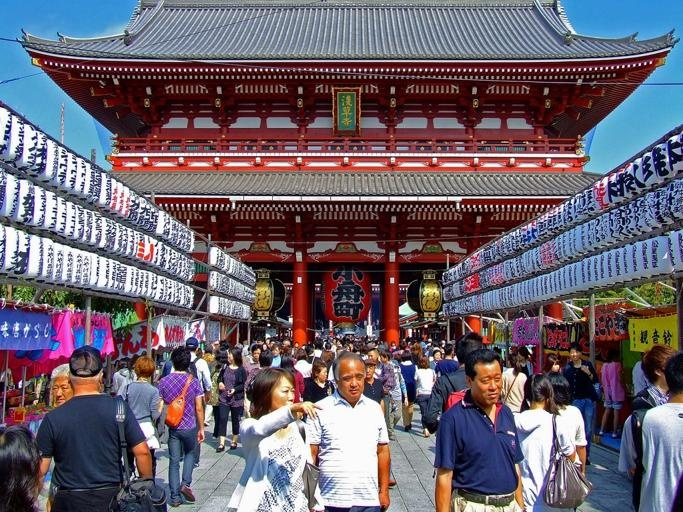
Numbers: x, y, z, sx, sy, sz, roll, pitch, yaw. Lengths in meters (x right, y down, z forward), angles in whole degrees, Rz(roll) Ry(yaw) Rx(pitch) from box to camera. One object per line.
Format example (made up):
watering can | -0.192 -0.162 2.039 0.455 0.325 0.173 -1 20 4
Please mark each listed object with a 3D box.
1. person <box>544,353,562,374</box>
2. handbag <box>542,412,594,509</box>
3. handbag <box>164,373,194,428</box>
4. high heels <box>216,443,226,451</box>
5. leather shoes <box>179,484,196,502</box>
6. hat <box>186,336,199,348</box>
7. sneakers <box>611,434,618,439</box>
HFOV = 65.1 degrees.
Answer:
person | 3.886 1.899 9.510 0.193 0.365 1.058 -6 -17 25
handbag | 2.141 1.895 4.971 0.423 0.801 0.243 3 -15 -7
handbag | -2.253 1.999 7.375 0.320 0.718 0.172 6 -16 -16
high heels | -2.332 3.686 10.308 0.169 0.142 0.333 4 -16 -11
leather shoes | -2.170 3.303 7.445 0.107 0.125 0.295 -22 -56 14
hat | -2.630 1.533 9.336 0.168 0.138 0.239 -2 13 -4
sneakers | 5.725 3.643 10.833 0.077 0.088 0.229 -6 -20 19
